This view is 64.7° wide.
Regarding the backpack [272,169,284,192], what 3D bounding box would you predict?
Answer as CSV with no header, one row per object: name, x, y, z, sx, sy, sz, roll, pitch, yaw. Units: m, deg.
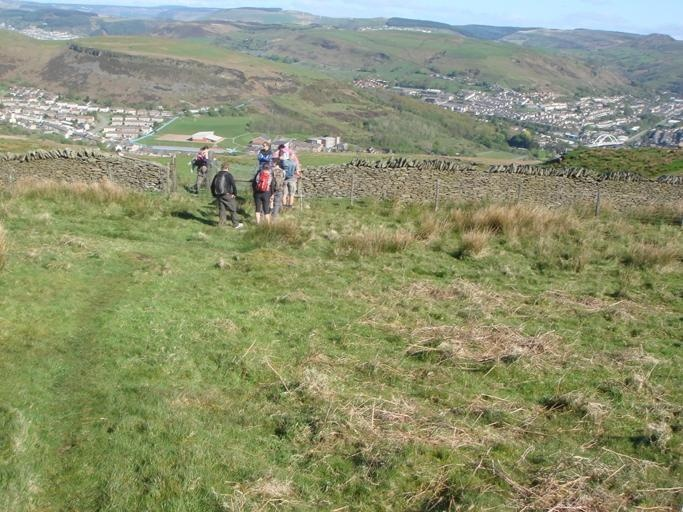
backpack,-1.366,-1.592,11.306,0.298,0.414,0.450,-2,15,-3

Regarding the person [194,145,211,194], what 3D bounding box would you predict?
person,-4.044,-2.470,15.514,0.461,1.469,1.042,-2,29,-14

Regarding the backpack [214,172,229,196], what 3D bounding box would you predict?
backpack,-2.468,-1.458,10.979,0.249,0.516,0.153,-6,32,-21
